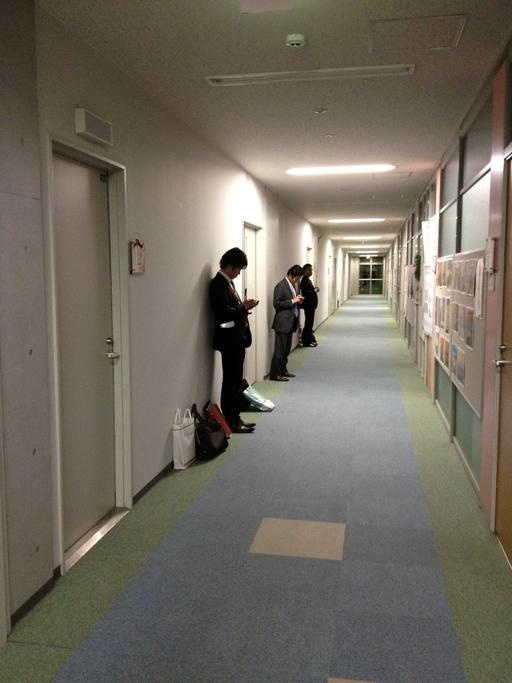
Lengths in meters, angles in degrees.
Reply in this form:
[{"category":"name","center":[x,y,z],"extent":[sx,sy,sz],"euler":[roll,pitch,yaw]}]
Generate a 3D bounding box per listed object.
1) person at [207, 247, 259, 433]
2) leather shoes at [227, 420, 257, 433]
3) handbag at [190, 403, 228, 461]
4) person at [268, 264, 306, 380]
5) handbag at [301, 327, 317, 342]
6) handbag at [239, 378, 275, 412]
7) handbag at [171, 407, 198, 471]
[{"category":"person","center":[-0.235,0.003,4.616],"extent":[0.460,1.839,0.527],"euler":[0,6,3]},{"category":"leather shoes","center":[-0.137,0.866,4.775],"extent":[0.180,0.105,0.129],"euler":[-6,2,0]},{"category":"handbag","center":[-0.407,0.789,4.033],"extent":[0.168,0.430,0.335],"euler":[-11,0,17]},{"category":"person","center":[0.475,-0.303,7.379],"extent":[0.373,1.760,0.646],"euler":[5,8,38]},{"category":"handbag","center":[1.170,-0.201,11.022],"extent":[0.272,0.330,0.505],"euler":[-4,-10,27]},{"category":"handbag","center":[0.074,0.686,5.445],"extent":[0.535,0.498,0.224],"euler":[2,32,-2]},{"category":"handbag","center":[-0.580,0.800,3.792],"extent":[0.109,0.578,0.412],"euler":[-1,1,13]}]
